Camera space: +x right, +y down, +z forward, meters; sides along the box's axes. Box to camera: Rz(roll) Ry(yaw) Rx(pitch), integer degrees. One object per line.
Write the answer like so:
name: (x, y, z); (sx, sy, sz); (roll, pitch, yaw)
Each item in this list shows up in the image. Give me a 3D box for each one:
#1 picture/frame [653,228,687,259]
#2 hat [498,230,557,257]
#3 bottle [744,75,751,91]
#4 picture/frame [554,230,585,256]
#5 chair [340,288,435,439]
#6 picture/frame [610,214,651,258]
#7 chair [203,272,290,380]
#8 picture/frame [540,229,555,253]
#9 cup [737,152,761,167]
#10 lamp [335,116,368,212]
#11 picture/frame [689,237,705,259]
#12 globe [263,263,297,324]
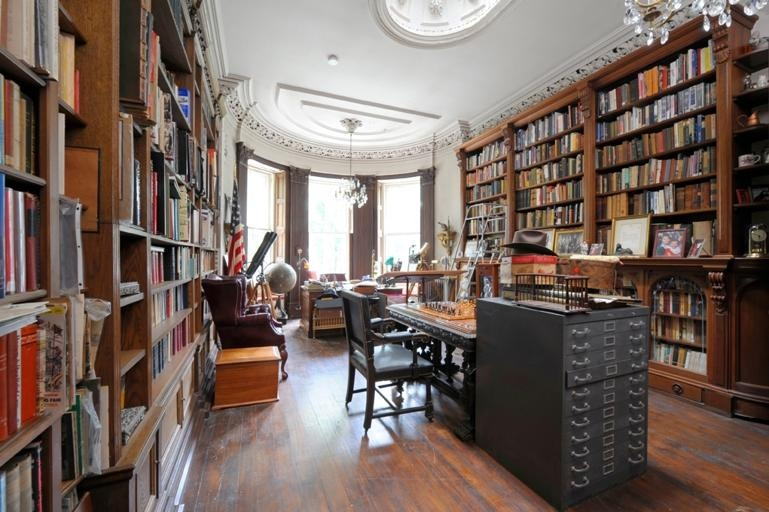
picture/frame: (3.032, -0.121, 5.647); (0.023, 0.377, 0.297); (15, -8, -24)
hat: (1.297, -0.113, 4.824); (0.403, 0.172, 0.363); (6, 7, -23)
bottle: (3.589, -1.695, 5.282); (0.069, 0.114, 0.106); (9, 17, 33)
picture/frame: (2.286, -0.148, 6.560); (0.021, 0.253, 0.274); (8, -1, -24)
chair: (0.049, 0.955, 5.755); (1.016, 1.869, 1.212); (-1, 3, -14)
picture/frame: (2.764, -0.208, 5.972); (0.039, 0.542, 0.415); (14, -12, -23)
chair: (-1.591, 0.797, 6.254); (0.961, 1.335, 1.176); (-2, 2, -16)
picture/frame: (1.815, -0.157, 5.925); (0.028, 0.421, 0.282); (1, 0, -19)
cup: (3.515, -0.913, 5.150); (0.157, 0.125, 0.123); (-1, 3, -10)
lamp: (-0.593, -1.636, 9.660); (0.742, 1.518, 0.736); (5, -14, -41)
picture/frame: (3.176, -0.083, 5.424); (0.124, 0.151, 0.241); (9, 18, 31)
globe: (-1.639, 0.497, 8.400); (0.682, 0.852, 0.709); (-2, 21, -26)
